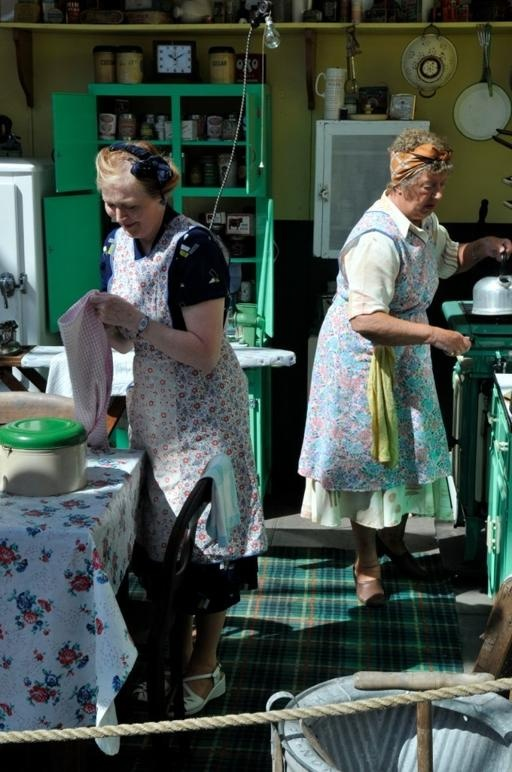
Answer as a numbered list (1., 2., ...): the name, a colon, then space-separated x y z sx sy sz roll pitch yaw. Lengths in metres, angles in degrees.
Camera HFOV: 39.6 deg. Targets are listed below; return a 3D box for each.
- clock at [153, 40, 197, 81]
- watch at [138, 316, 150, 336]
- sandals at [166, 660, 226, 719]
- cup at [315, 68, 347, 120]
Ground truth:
1. clock: -0.444 -1.775 3.883 0.284 0.211 0.093 0 6 -2
2. watch: -0.261 -0.138 1.639 0.028 0.041 0.042 23 8 -7
3. sandals: -0.159 0.869 2.069 0.091 0.080 0.228 3 7 30
4. cup: 0.401 -1.591 3.920 0.161 0.329 0.408 1 11 4
